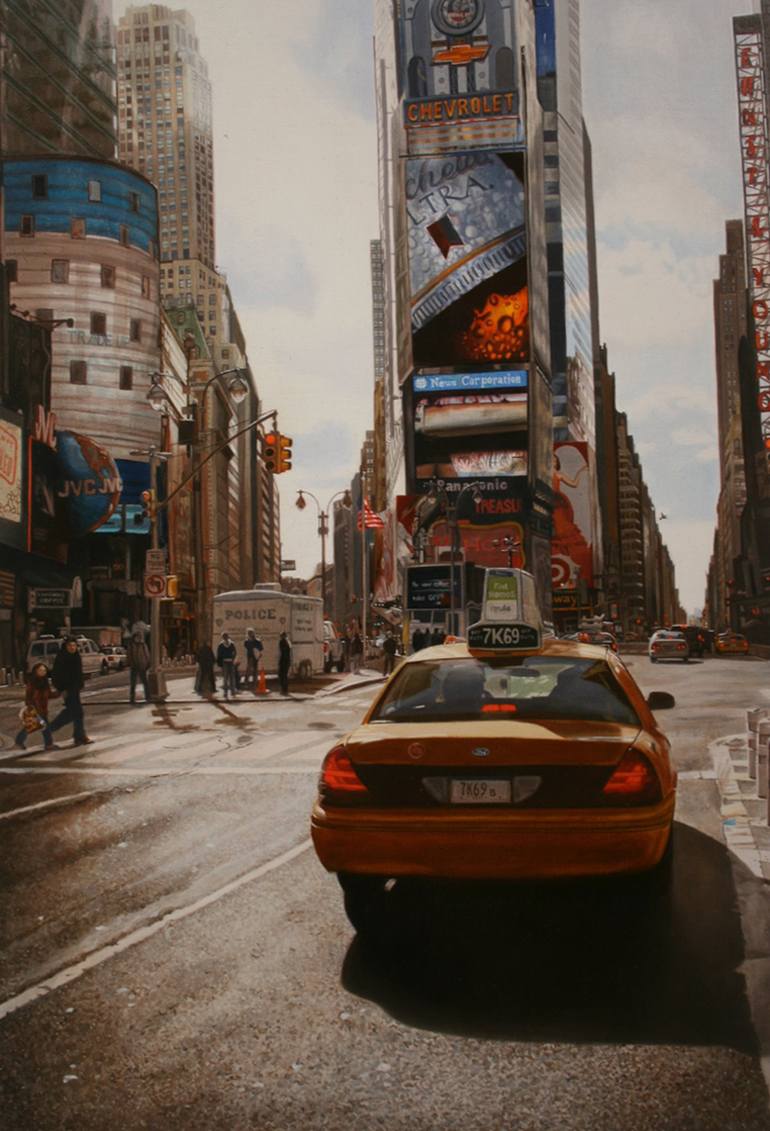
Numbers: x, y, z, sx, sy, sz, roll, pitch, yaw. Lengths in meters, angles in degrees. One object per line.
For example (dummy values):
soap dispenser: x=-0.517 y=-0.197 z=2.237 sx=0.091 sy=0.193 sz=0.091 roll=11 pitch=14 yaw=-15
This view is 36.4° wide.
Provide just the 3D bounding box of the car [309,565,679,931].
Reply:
car: x=0.560 y=0.873 z=5.831 sx=0.979 sy=1.185 sz=2.395 roll=-1 pitch=-1 yaw=9

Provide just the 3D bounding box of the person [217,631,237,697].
person: x=-3.817 y=2.400 z=28.247 sx=0.439 sy=1.527 sz=1.727 roll=-7 pitch=1 yaw=-9

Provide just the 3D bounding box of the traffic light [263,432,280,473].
traffic light: x=-2.130 y=-2.182 z=21.968 sx=0.328 sy=0.792 sz=0.605 roll=-7 pitch=1 yaw=-5

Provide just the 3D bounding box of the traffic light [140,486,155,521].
traffic light: x=-5.731 y=-1.552 z=28.512 sx=0.300 sy=0.843 sz=1.699 roll=-7 pitch=0 yaw=-11

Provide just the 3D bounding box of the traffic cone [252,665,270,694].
traffic cone: x=-3.216 y=2.977 z=30.877 sx=0.575 sy=0.884 sz=0.595 roll=-3 pitch=0 yaw=-8

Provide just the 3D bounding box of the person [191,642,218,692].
person: x=-4.396 y=2.526 z=28.405 sx=0.490 sy=1.329 sz=1.366 roll=-7 pitch=1 yaw=-11

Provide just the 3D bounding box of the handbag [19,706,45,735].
handbag: x=-4.957 y=2.166 z=16.487 sx=0.333 sy=0.472 sz=0.831 roll=-8 pitch=0 yaw=-18
